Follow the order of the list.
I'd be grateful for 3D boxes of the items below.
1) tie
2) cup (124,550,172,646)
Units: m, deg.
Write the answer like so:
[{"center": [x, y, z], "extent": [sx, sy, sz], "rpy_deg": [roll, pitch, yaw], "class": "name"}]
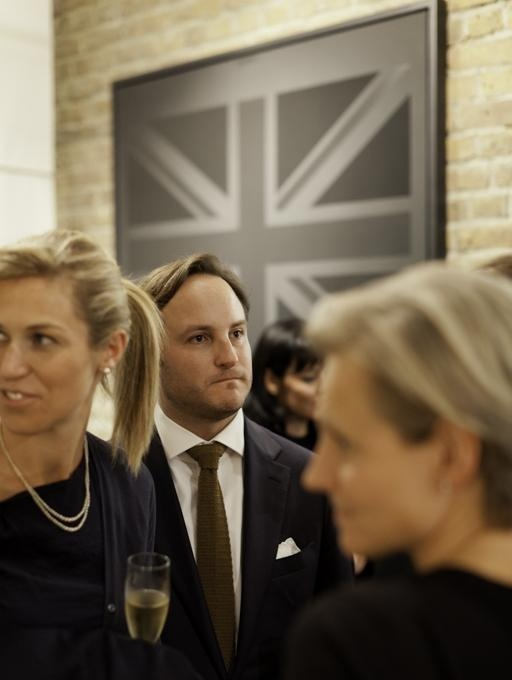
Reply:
[{"center": [-0.082, 0.354, 1.130], "extent": [0.067, 0.320, 0.055], "rpy_deg": [-9, -20, 11], "class": "tie"}, {"center": [-0.164, 0.384, 1.023], "extent": [0.065, 0.105, 0.096], "rpy_deg": [2, 5, -8], "class": "cup"}]
